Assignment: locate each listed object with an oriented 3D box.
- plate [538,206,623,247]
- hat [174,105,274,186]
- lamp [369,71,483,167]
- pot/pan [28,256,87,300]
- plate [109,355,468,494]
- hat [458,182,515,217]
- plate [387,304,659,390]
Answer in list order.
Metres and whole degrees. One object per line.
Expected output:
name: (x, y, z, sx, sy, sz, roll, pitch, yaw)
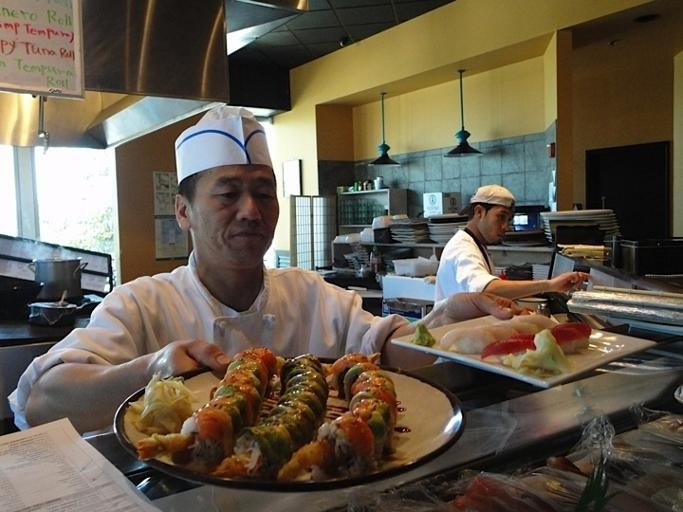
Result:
plate: (1.184, -0.153, 2.522, 0.261, 0.114, 0.321, -1, 2, -34)
hat: (-0.367, -0.317, 1.492, 0.213, 0.170, 0.276, -4, -4, -37)
lamp: (1.128, -1.785, 6.322, 1.307, 0.918, 0.503, -4, -4, 45)
pot/pan: (-1.610, 0.122, 2.825, 0.371, 0.242, 0.251, 0, -2, -13)
plate: (-0.085, 0.278, 0.822, 0.562, 0.067, 0.392, 2, 12, 14)
hat: (0.947, -0.378, 3.238, 0.201, 0.153, 0.279, -6, 8, -43)
plate: (0.434, 0.206, 1.206, 0.422, 0.066, 0.454, -9, 14, -34)
